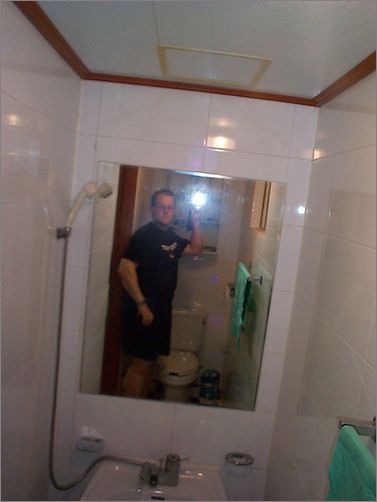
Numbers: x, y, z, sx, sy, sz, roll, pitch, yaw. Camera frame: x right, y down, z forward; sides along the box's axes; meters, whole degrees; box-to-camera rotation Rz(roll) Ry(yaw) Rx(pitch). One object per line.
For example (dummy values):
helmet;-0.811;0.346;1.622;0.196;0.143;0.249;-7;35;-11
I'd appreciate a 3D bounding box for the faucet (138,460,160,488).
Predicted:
faucet;-0.161;0.946;1.640;0.080;0.029;0.081;8;15;2

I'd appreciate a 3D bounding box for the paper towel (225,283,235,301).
paper towel;0.180;0.179;1.691;0.047;0.058;0.048;8;-38;0
